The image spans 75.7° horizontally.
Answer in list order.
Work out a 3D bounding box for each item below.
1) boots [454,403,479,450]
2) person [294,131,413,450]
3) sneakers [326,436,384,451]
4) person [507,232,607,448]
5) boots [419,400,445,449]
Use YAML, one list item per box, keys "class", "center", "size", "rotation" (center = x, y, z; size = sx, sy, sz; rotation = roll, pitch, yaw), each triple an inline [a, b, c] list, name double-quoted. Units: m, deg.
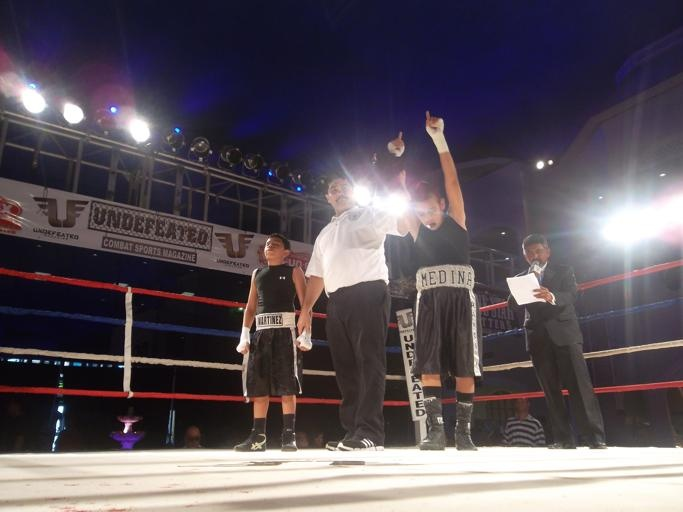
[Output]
- class: "boots"
  center: [0.817, 1.127, 2.921]
  size: [0.137, 0.290, 0.477]
  rotation: [-8, -22, 13]
- class: "person"
  center: [0.025, 0.396, 2.708]
  size: [0.460, 1.474, 0.824]
  rotation: [13, -26, -38]
- class: "sneakers"
  center: [0.078, 0.985, 2.273]
  size: [0.194, 0.061, 0.146]
  rotation: [12, -32, -16]
- class: "person"
  center: [1.747, 0.626, 3.641]
  size: [0.518, 1.780, 0.668]
  rotation: [-14, -23, 27]
- class: "boots"
  center: [0.583, 1.088, 2.857]
  size: [0.171, 0.311, 0.337]
  rotation: [-7, -21, 10]
